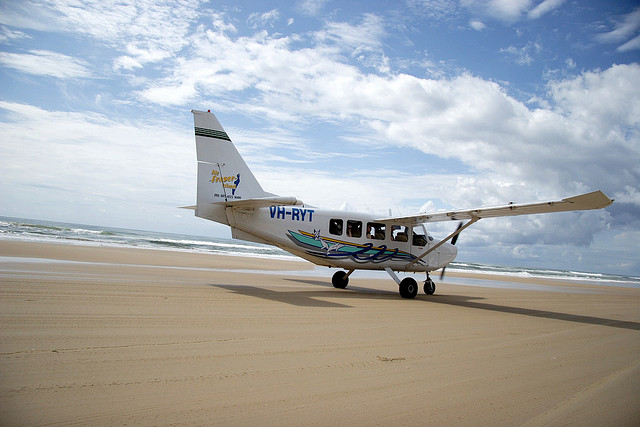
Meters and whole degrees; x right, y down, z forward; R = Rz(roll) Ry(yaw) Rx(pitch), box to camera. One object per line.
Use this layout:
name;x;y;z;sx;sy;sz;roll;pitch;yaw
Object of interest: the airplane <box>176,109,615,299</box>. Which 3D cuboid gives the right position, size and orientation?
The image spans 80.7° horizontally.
airplane;0.601;0.027;12.491;10.078;5.968;5.011;7;-1;-13
